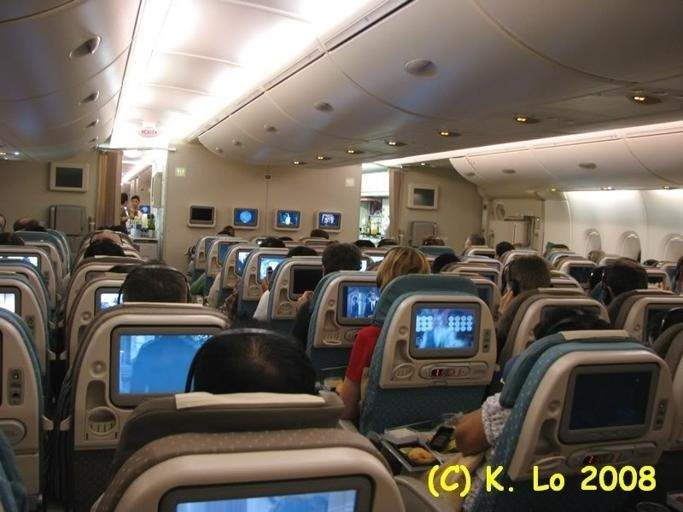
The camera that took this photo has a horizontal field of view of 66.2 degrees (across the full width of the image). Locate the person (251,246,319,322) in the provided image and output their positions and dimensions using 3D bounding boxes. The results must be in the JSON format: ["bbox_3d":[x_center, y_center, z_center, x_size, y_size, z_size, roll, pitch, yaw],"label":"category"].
[{"bbox_3d":[-0.702,0.435,6.624,0.648,0.975,0.818,6,-5,-28],"label":"person"}]

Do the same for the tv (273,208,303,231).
[{"bbox_3d":[-1.612,-1.001,15.430,0.977,0.871,0.512,0,0,-23],"label":"tv"}]

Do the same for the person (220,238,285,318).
[{"bbox_3d":[-1.157,0.263,7.288,0.627,0.967,0.824,-1,-24,15],"label":"person"}]

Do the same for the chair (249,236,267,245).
[{"bbox_3d":[-1.733,-0.315,10.756,0.386,0.210,0.399,2,8,-5],"label":"chair"}]

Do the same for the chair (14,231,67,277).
[{"bbox_3d":[-3.830,-0.023,6.636,0.666,0.705,0.575,0,5,-8],"label":"chair"}]

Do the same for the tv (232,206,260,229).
[{"bbox_3d":[-2.771,-1.051,14.995,0.962,0.834,0.495,-1,2,-32],"label":"tv"}]

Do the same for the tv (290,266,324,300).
[{"bbox_3d":[-0.387,0.290,5.590,0.376,0.392,0.040,-7,15,-28],"label":"tv"}]

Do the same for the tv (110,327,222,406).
[{"bbox_3d":[-0.865,0.562,2.700,0.642,0.494,0.329,0,-6,-4],"label":"tv"}]

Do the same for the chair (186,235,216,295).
[{"bbox_3d":[-3.028,0.132,11.439,0.677,1.170,0.961,-2,11,-42],"label":"chair"}]

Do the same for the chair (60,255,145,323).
[{"bbox_3d":[-2.188,0.204,4.909,0.801,0.794,0.742,-4,16,-29],"label":"chair"}]

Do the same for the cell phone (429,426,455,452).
[{"bbox_3d":[0.552,1.012,2.873,0.119,0.053,0.260,1,16,21],"label":"cell phone"}]

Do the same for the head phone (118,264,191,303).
[{"bbox_3d":[-1.139,0.182,3.207,0.405,0.234,0.306,3,0,-22],"label":"head phone"}]

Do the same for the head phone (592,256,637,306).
[{"bbox_3d":[2.785,0.271,5.338,0.273,0.355,0.381,15,-18,-6],"label":"head phone"}]

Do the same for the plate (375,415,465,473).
[{"bbox_3d":[0.410,1.060,2.969,0.467,0.196,0.527,-3,5,-25],"label":"plate"}]

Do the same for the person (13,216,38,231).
[{"bbox_3d":[-6.120,-0.597,10.124,0.343,0.287,1.775,3,0,-33],"label":"person"}]

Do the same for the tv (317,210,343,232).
[{"bbox_3d":[-0.401,-1.010,15.827,0.969,0.878,0.503,-1,4,-29],"label":"tv"}]

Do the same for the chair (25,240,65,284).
[{"bbox_3d":[-3.999,0.192,7.230,0.371,0.551,0.284,6,18,43],"label":"chair"}]

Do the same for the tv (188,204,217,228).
[{"bbox_3d":[-3.868,-1.084,14.351,0.609,0.538,0.227,1,-1,-23],"label":"tv"}]

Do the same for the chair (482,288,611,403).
[{"bbox_3d":[1.538,0.610,4.125,0.722,1.025,0.783,-4,19,-2],"label":"chair"}]

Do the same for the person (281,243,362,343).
[{"bbox_3d":[-0.154,0.305,4.934,0.638,1.090,0.885,-1,5,-22],"label":"person"}]

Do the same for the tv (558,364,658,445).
[{"bbox_3d":[1.033,0.576,2.050,0.350,0.276,0.038,0,9,-22],"label":"tv"}]

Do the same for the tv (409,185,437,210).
[{"bbox_3d":[2.657,-1.913,17.020,1.074,0.628,0.149,3,-1,-26],"label":"tv"}]

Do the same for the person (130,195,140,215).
[{"bbox_3d":[-6.770,-1.637,17.067,0.192,0.772,1.766,3,0,-24],"label":"person"}]

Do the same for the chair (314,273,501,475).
[{"bbox_3d":[0.585,0.689,3.766,0.776,1.274,1.073,-2,17,-5],"label":"chair"}]

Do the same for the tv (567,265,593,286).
[{"bbox_3d":[3.554,0.293,7.805,0.294,0.273,0.162,-3,8,-23],"label":"tv"}]
